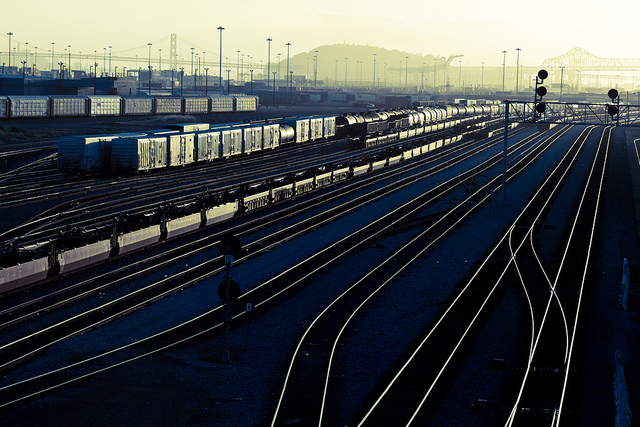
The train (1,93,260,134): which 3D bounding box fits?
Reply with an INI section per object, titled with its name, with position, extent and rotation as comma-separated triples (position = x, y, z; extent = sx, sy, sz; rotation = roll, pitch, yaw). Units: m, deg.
[train]
position = -28.552, -14.443, 88.844
extent = 41.307, 7.790, 9.134
rotation = -1, -3, -1
